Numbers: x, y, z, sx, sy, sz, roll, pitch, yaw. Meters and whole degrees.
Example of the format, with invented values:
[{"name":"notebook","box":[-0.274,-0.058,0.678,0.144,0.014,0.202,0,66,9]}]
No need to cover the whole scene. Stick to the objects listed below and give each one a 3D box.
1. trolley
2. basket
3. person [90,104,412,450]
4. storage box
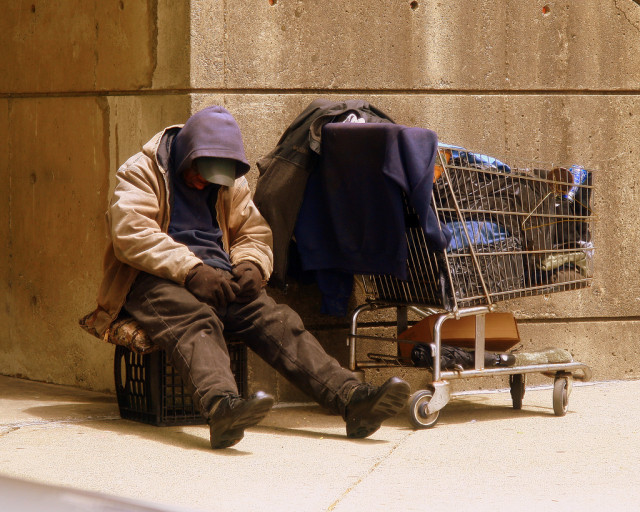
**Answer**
[{"name":"trolley","box":[0.905,0.134,5.843,1.493,1.683,0.981,-2,2,-30]},{"name":"basket","box":[-0.734,0.716,5.291,0.670,0.518,0.427,-5,-6,41]},{"name":"person","box":[-0.573,0.023,5.143,1.050,1.599,2.249,1,10,-36]},{"name":"storage box","box":[0.870,0.462,5.679,0.453,0.169,0.389,-3,-5,-20]}]
